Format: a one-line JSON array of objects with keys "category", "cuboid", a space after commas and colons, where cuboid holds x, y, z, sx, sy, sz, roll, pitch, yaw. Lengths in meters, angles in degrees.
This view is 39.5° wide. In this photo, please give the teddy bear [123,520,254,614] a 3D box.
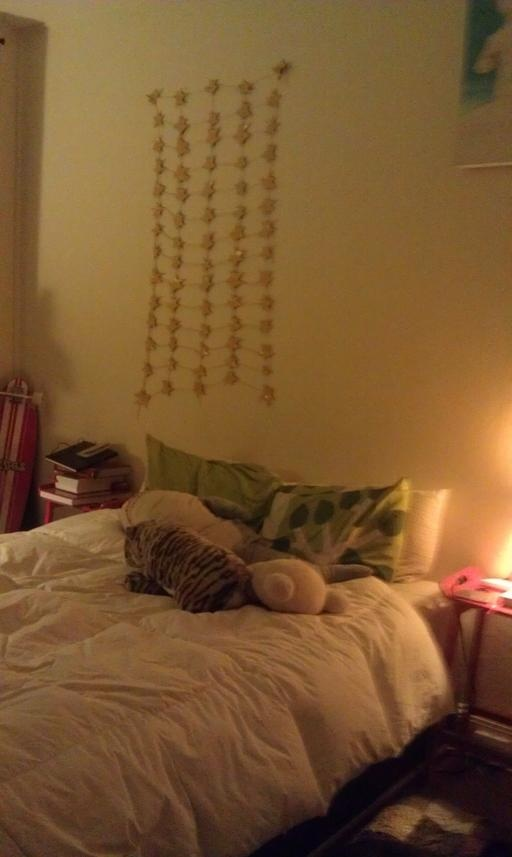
[{"category": "teddy bear", "cuboid": [-0.196, 0.373, 1.981, 0.190, 0.130, 0.338, 3, 6, -37]}]

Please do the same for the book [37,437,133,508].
[{"category": "book", "cuboid": [-0.797, 0.232, 3.336, 0.347, 0.214, 0.339, -10, 15, -41]}]
